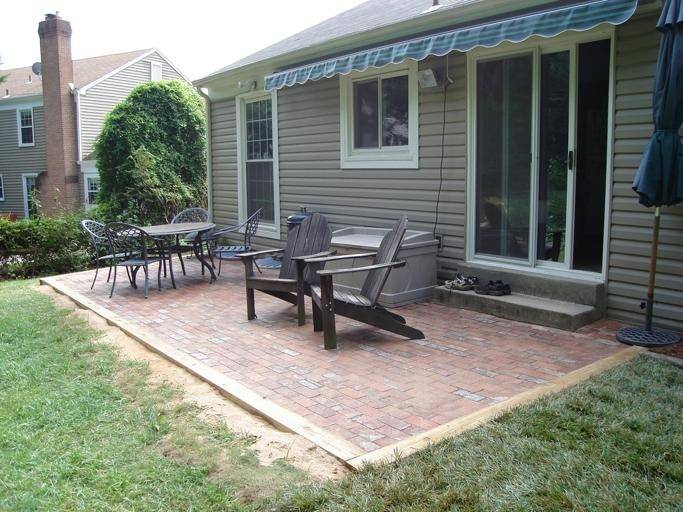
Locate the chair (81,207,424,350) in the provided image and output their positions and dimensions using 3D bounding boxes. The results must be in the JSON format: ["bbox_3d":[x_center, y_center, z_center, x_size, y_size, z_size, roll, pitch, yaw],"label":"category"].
[{"bbox_3d":[-0.145,0.200,5.798,1.324,1.250,1.851,-12,14,-32],"label":"chair"}]

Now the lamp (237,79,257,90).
[{"bbox_3d":[-1.911,-3.430,10.531,0.338,0.142,0.437,12,15,41],"label":"lamp"}]

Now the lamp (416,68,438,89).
[{"bbox_3d":[1.172,-2.394,7.080,0.132,0.231,0.281,-12,15,-29],"label":"lamp"}]

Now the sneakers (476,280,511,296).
[{"bbox_3d":[1.801,0.385,6.360,0.203,0.108,0.327,-3,6,-31],"label":"sneakers"}]
